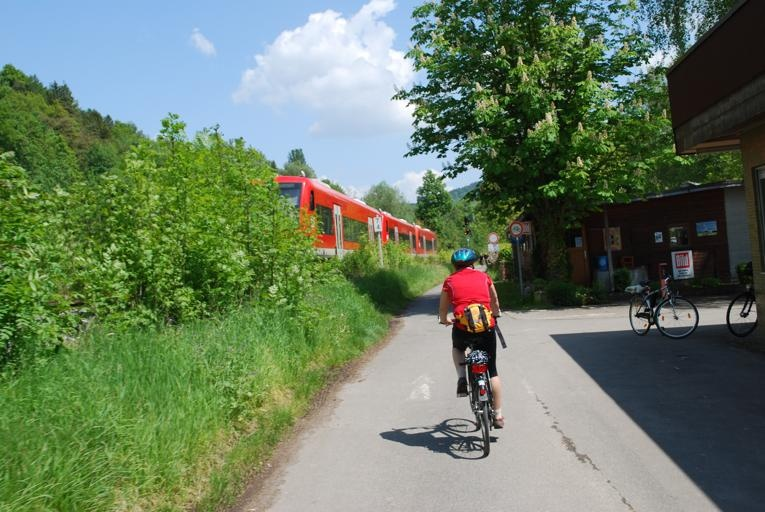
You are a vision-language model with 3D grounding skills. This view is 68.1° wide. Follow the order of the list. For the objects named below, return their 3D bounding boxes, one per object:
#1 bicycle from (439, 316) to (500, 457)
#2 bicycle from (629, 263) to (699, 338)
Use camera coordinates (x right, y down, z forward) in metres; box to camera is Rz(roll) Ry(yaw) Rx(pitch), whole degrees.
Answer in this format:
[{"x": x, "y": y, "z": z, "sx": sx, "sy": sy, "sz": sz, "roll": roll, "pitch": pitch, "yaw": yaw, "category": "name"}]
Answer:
[{"x": 1.279, "y": 1.814, "z": 7.643, "sx": 0.414, "sy": 1.449, "sz": 0.994, "roll": -2, "pitch": 6, "yaw": 8, "category": "bicycle"}, {"x": 6.423, "y": 1.140, "z": 13.408, "sx": 0.629, "sy": 1.506, "sz": 2.143, "roll": 8, "pitch": -5, "yaw": -11, "category": "bicycle"}]
